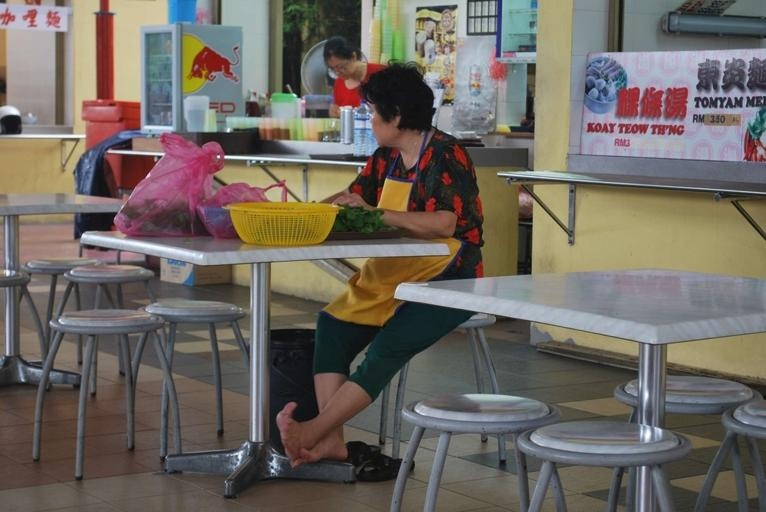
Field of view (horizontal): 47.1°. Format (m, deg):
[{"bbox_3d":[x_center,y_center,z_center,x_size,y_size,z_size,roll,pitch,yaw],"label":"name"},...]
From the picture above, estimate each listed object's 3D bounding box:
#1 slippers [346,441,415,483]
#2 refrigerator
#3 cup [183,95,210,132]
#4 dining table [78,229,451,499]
[{"bbox_3d":[-0.042,0.981,4.200,0.228,0.085,0.365,5,-5,-6],"label":"slippers"},{"bbox_3d":[-1.953,-1.777,8.845,1.168,1.097,0.787,5,9,4],"label":"refrigerator"},{"bbox_3d":[-1.749,-1.348,8.327,0.220,0.330,0.282,3,9,-11],"label":"cup"},{"bbox_3d":[-0.637,0.467,4.114,1.503,1.048,1.399,-1,4,-32],"label":"dining table"}]
